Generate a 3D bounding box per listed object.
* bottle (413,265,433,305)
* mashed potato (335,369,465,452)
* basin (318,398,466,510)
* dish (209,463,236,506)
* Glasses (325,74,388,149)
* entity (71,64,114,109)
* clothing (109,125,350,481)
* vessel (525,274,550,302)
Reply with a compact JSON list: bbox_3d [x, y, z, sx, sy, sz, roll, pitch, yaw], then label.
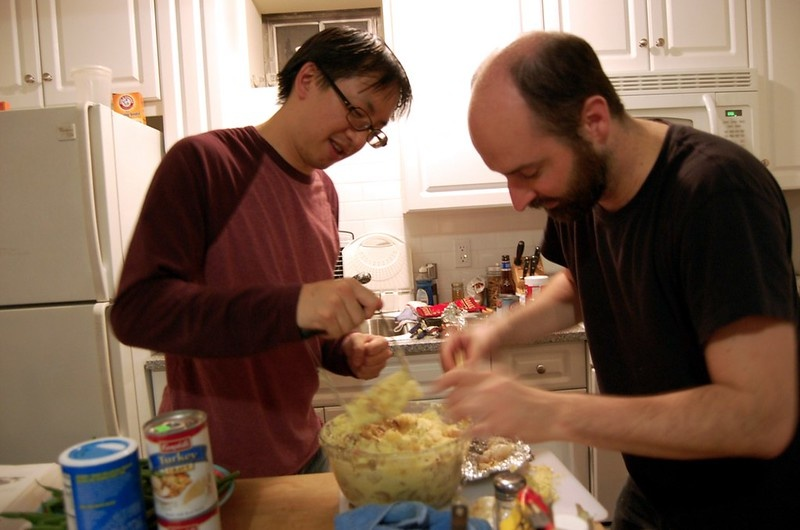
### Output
[{"bbox_3d":[0.150,0.155,3.752,0.110,0.264,0.111,-5,4,0],"label":"bottle"},{"bbox_3d":[-0.029,0.457,1.854,0.280,0.093,0.266,-1,6,9],"label":"mashed potato"},{"bbox_3d":[-0.018,0.592,1.823,0.418,0.243,0.320,-6,6,-17],"label":"basin"},{"bbox_3d":[-0.529,0.653,1.810,0.027,0.111,0.111,7,-22,-42],"label":"dish"},{"bbox_3d":[-0.178,-0.575,2.194,0.068,0.221,0.214,-34,-26,11],"label":"Glasses"},{"bbox_3d":[-1.521,-0.875,3.058,0.235,0.229,0.221,-3,5,-25],"label":"entity"},{"bbox_3d":[-0.562,0.147,2.075,0.652,1.251,0.686,-4,6,9],"label":"clothing"},{"bbox_3d":[0.733,0.121,3.305,0.161,0.172,0.160,0,2,2],"label":"vessel"}]
